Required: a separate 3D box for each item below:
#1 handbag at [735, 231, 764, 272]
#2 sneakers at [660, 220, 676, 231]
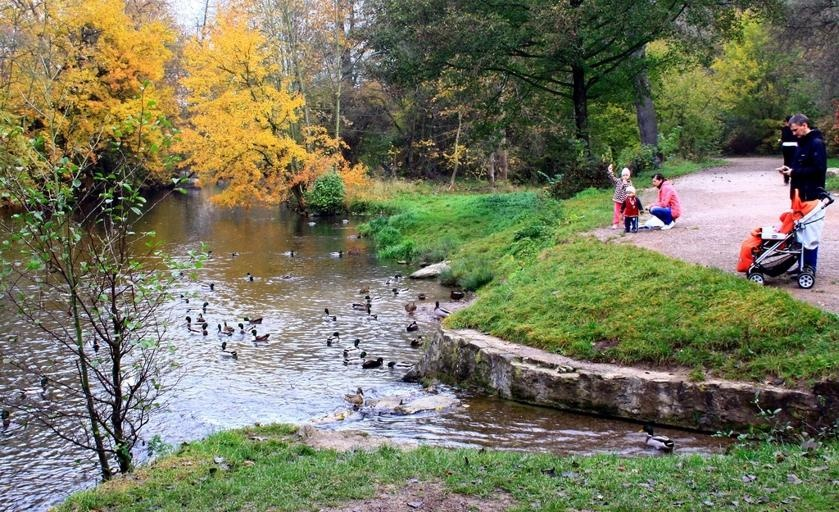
[{"bbox_3d":[9.692,-0.104,24.940,0.642,1.324,1.229,7,7,19],"label":"handbag"},{"bbox_3d":[8.488,-1.090,29.106,0.535,0.206,0.191,-23,23,-26],"label":"sneakers"}]
